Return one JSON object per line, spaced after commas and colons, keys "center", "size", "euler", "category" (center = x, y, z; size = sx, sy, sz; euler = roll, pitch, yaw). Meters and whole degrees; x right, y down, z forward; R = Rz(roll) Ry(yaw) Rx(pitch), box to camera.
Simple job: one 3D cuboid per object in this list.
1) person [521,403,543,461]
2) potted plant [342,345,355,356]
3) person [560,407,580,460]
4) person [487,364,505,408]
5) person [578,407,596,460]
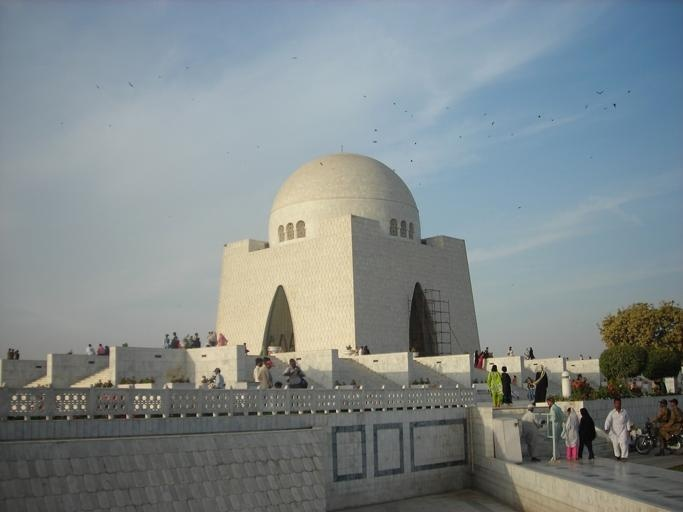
{"center": [4.422, 3.975, 18.288], "size": [0.481, 0.834, 1.502], "euler": [1, 0, 15], "category": "person"}
{"center": [0.335, 3.437, 28.825], "size": [0.371, 0.256, 0.388], "euler": [2, -10, -11], "category": "potted plant"}
{"center": [5.050, 3.866, 17.360], "size": [0.362, 0.837, 0.684], "euler": [1, 1, 17], "category": "person"}
{"center": [4.028, 3.356, 20.628], "size": [0.409, 1.101, 1.497], "euler": [1, 0, 11], "category": "person"}
{"center": [5.427, 3.917, 17.488], "size": [0.337, 0.835, 0.706], "euler": [1, 1, 17], "category": "person"}
